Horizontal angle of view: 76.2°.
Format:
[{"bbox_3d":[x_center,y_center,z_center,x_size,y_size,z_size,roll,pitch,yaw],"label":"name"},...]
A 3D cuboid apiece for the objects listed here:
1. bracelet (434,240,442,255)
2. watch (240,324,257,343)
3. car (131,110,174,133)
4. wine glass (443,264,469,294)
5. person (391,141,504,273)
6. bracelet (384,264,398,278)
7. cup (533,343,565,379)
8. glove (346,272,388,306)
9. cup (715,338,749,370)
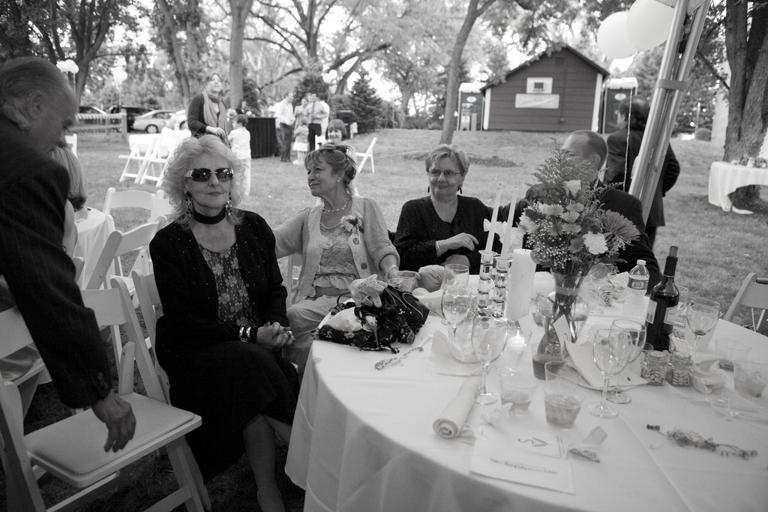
[{"bbox_3d":[0.409,-0.062,3.639,0.061,0.112,0.044,3,14,4],"label":"bracelet"},{"bbox_3d":[-0.792,0.456,2.861,0.085,0.069,0.090,0,-1,9],"label":"watch"},{"bbox_3d":[-10.661,-6.115,22.200,1.498,1.013,1.821,-5,16,-27],"label":"car"},{"bbox_3d":[0.347,0.107,2.343,0.122,0.134,0.121,-1,2,-39],"label":"wine glass"},{"bbox_3d":[0.268,-0.452,3.909,0.930,1.301,0.903,-1,12,-6],"label":"person"},{"bbox_3d":[0.050,0.114,3.451,0.087,0.094,0.092,-7,20,-10],"label":"bracelet"},{"bbox_3d":[0.710,0.430,2.110,0.131,0.140,0.136,-2,10,0],"label":"cup"},{"bbox_3d":[-0.087,0.186,2.532,0.164,0.134,0.084,-2,-12,42],"label":"glove"},{"bbox_3d":[1.565,0.425,2.164,0.138,0.113,0.156,3,10,18],"label":"cup"}]
